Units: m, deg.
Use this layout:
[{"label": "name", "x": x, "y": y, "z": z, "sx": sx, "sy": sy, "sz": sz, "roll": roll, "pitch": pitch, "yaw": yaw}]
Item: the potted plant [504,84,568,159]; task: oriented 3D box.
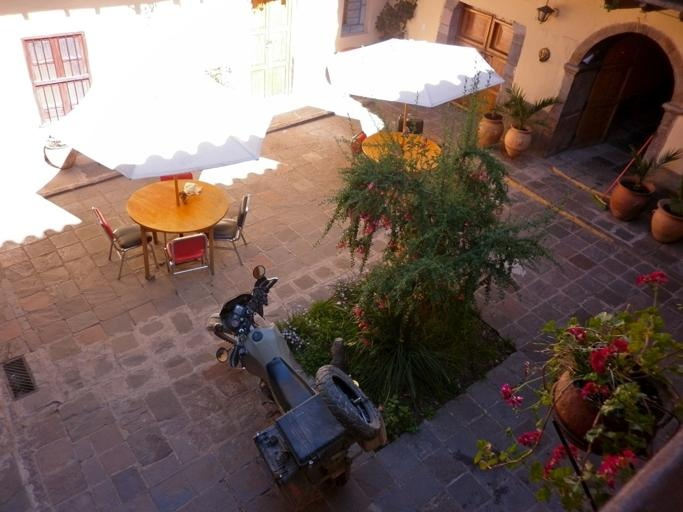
[{"label": "potted plant", "x": 4.386, "y": -3.237, "z": 10.621, "sx": 1.346, "sy": 1.484, "sz": 1.148, "roll": 15, "pitch": 33, "yaw": 16}]

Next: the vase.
[{"label": "vase", "x": 1.217, "y": 0.835, "z": 2.276, "sx": 0.285, "sy": 0.177, "sz": 0.322, "roll": 21, "pitch": 40, "yaw": -38}]

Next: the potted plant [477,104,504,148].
[{"label": "potted plant", "x": 3.842, "y": -3.145, "z": 11.132, "sx": 0.662, "sy": 0.737, "sz": 0.619, "roll": 14, "pitch": 26, "yaw": 28}]

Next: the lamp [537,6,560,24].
[{"label": "lamp", "x": 4.633, "y": -5.465, "z": 9.826, "sx": 0.431, "sy": 0.390, "sz": 0.421, "roll": -27, "pitch": 46, "yaw": -34}]
